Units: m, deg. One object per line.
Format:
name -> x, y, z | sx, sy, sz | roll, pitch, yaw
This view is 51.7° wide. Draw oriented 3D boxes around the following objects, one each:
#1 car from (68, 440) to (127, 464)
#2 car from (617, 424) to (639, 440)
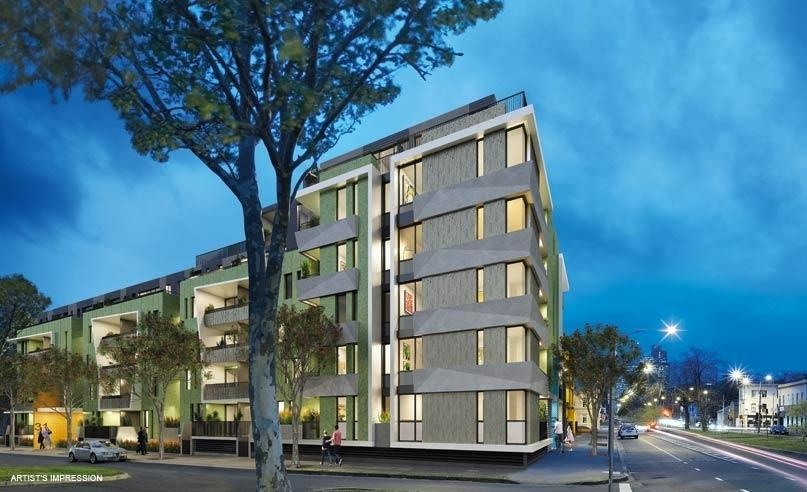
car -> -27.022, 18.085, 73.056 | 5.207, 2.237, 1.953 | -12, -24, 25
car -> 26.658, 22.297, 99.741 | 1.374, 1.098, 2.833 | -2, -7, 5
